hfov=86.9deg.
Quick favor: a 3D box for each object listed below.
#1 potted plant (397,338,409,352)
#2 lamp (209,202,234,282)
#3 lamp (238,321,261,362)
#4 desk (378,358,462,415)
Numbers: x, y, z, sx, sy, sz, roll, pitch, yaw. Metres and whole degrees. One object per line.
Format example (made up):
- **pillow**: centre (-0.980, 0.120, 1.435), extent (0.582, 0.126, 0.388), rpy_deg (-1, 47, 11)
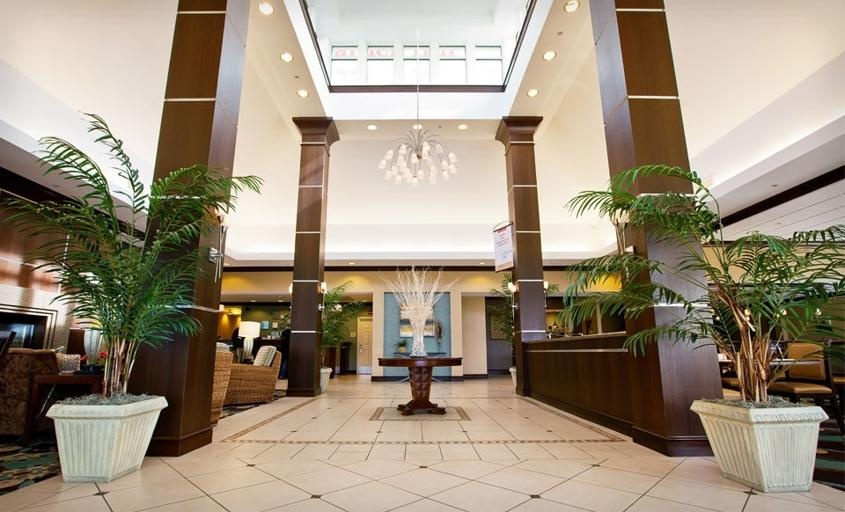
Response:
- **potted plant**: centre (-0.621, 2.718, 13.889), extent (0.326, 0.409, 0.483), rpy_deg (-1, -8, 7)
- **lamp**: centre (-2.615, -0.062, 5.656), extent (0.321, 0.926, 0.270), rpy_deg (5, 4, -30)
- **lamp**: centre (-4.104, 1.971, 10.544), extent (0.509, 0.799, 0.511), rpy_deg (-14, -22, 28)
- **desk**: centre (-0.059, 2.210, 7.693), extent (1.398, 0.859, 1.382), rpy_deg (-2, -15, 7)
